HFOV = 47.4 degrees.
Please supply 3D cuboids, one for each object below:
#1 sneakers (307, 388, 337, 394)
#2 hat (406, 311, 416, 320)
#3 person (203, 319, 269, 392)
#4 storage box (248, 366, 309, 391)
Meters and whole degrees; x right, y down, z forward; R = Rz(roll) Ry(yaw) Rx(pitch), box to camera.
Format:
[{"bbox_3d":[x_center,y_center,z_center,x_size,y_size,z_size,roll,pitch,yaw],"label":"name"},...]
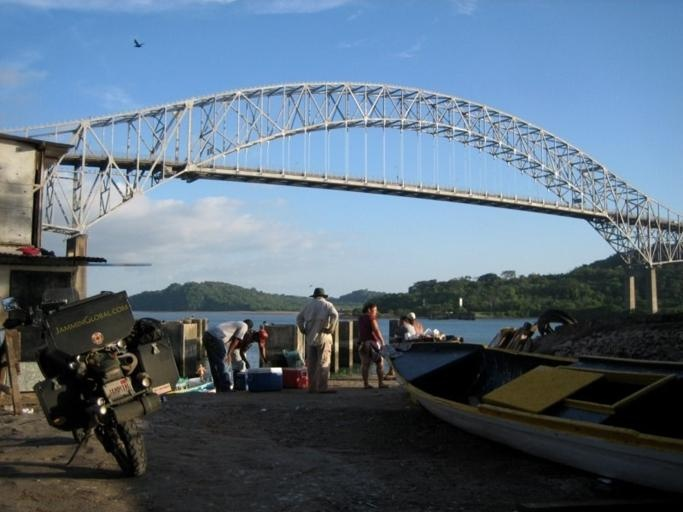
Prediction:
[{"bbox_3d":[-0.352,2.592,14.969,0.507,0.141,0.187,-2,-2,-3],"label":"sneakers"},{"bbox_3d":[1.598,1.352,17.714,0.252,0.199,0.368,5,-5,4],"label":"hat"},{"bbox_3d":[-2.167,1.972,15.703,0.901,1.400,1.500,-3,-5,13],"label":"person"},{"bbox_3d":[-1.292,2.464,15.614,0.694,0.264,0.691,-1,-3,-37],"label":"storage box"}]
